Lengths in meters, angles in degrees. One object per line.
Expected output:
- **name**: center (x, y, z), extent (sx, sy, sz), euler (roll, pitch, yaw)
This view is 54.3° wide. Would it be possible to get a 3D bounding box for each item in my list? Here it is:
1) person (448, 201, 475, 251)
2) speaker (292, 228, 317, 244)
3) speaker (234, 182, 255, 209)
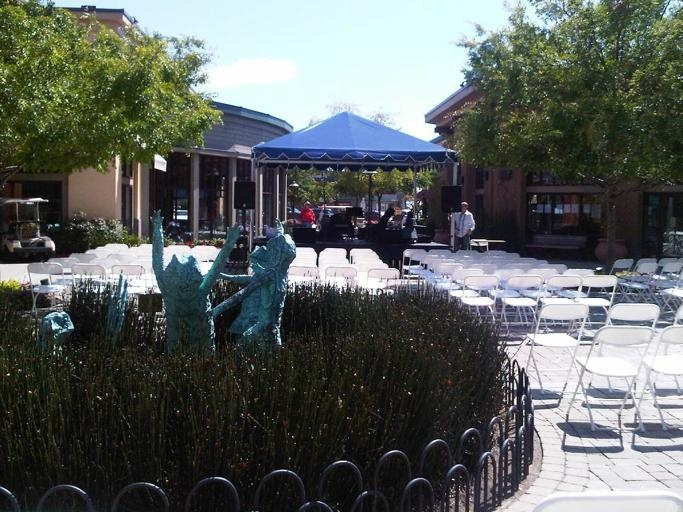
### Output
- **person**: center (3.121, -0.629, 17.360), extent (0.633, 1.615, 0.474), euler (2, 19, 7)
- **speaker**: center (-1.072, -0.625, 19.502), extent (0.675, 0.562, 0.411), euler (2, 9, 0)
- **speaker**: center (-2.348, -1.499, 16.085), extent (0.510, 0.687, 0.712), euler (0, 4, -9)
